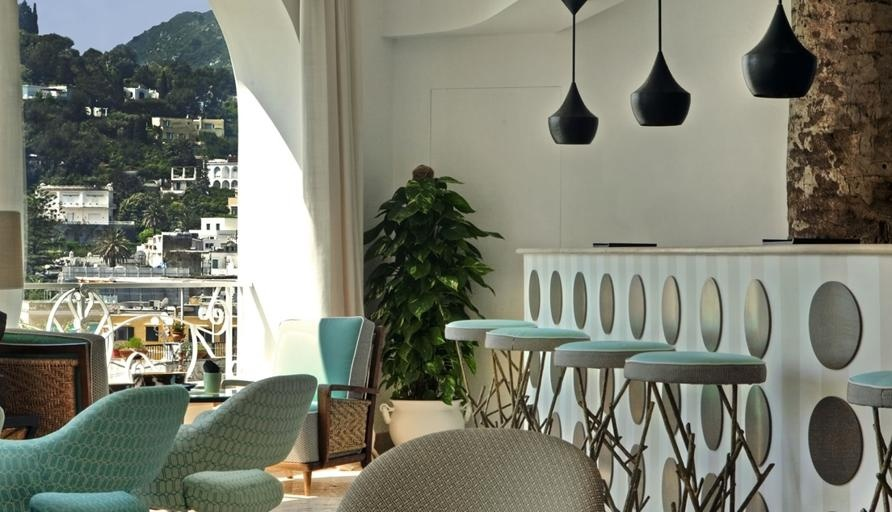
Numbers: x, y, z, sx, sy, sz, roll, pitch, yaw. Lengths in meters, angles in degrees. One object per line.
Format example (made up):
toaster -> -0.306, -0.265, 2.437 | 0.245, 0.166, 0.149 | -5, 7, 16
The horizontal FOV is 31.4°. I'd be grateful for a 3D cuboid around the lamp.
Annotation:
lamp -> 2.565, -1.914, 16.646 | 1.495, 1.128, 0.388 | -9, -11, 42
